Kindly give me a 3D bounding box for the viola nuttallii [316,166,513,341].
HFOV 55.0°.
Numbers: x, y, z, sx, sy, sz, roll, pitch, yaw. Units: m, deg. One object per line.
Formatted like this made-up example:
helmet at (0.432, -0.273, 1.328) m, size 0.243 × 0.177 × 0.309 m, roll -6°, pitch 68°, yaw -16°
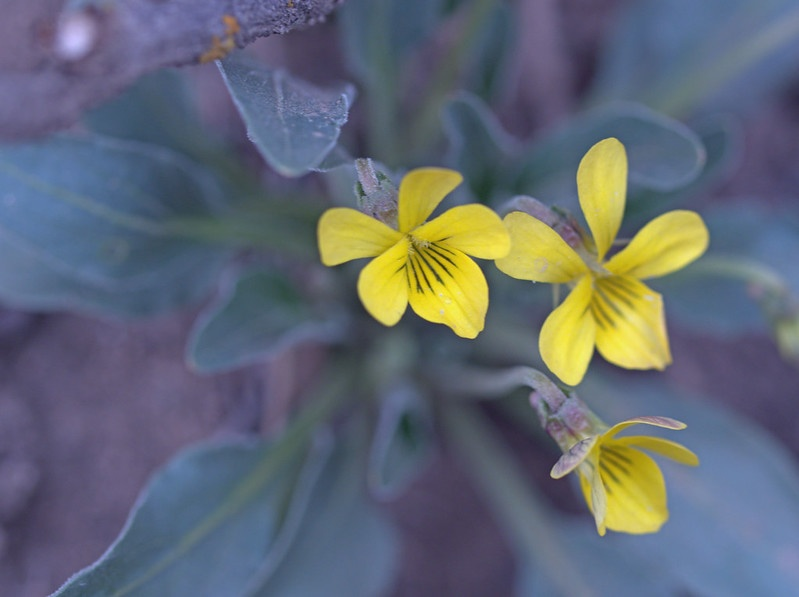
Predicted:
viola nuttallii at (0.004, -0.064, 0.903) m, size 0.185 × 0.082 × 0.208 m, roll -35°, pitch 11°, yaw 2°
